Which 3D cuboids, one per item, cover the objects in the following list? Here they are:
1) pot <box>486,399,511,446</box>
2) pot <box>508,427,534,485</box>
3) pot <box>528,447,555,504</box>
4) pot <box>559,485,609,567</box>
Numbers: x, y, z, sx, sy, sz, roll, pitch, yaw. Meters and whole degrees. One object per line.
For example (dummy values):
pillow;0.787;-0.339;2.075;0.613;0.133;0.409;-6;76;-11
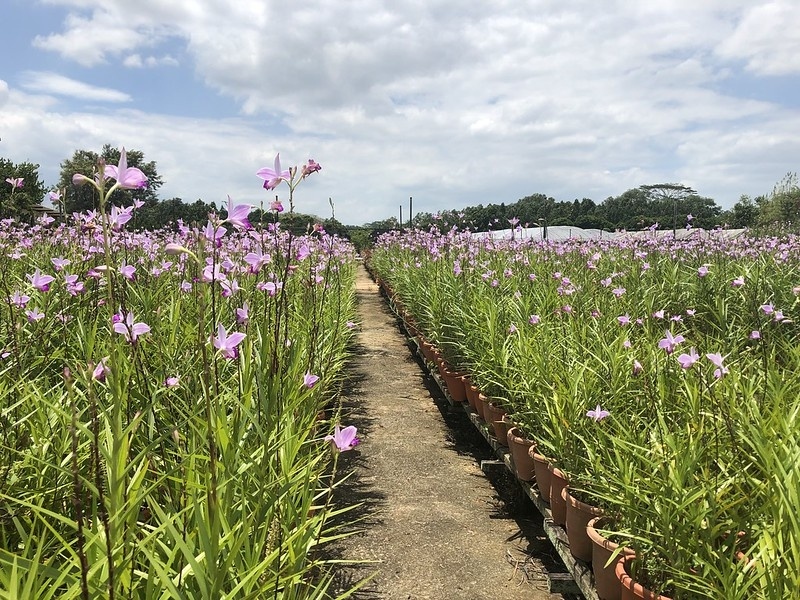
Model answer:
pot;0.774;0.989;4.410;0.230;0.236;0.239;2;3;0
pot;0.828;1.120;3.943;0.257;0.260;0.269;0;0;0
pot;0.916;1.131;3.646;0.228;0.267;0.244;-1;9;0
pot;1.046;1.290;3.200;0.268;0.275;0.280;2;11;0
